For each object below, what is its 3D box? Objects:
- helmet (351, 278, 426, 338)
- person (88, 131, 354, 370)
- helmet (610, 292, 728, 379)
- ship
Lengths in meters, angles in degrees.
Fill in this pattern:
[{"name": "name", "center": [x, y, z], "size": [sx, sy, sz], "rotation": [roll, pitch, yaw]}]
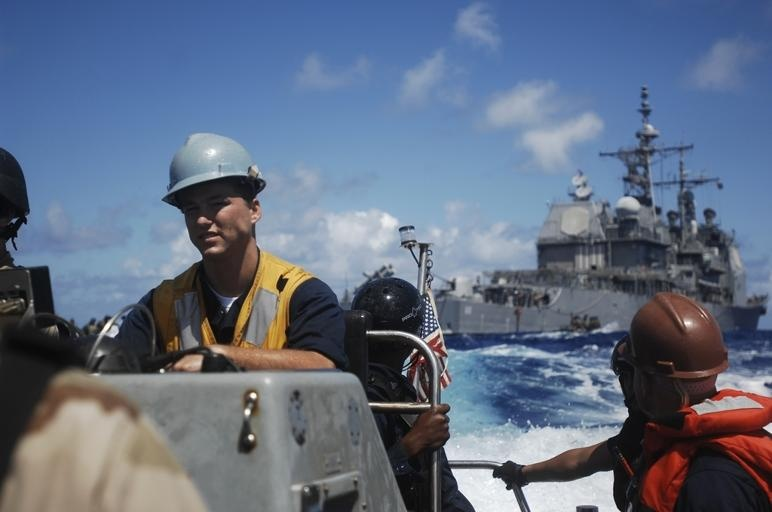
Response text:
[{"name": "helmet", "center": [0.009, 0.321, 5.795], "size": [0.336, 0.368, 0.422], "rotation": [15, 31, 40]}, {"name": "person", "center": [-0.663, 0.117, 4.021], "size": [0.874, 1.235, 0.740], "rotation": [-4, -8, 22]}, {"name": "helmet", "center": [1.178, 0.345, 3.990], "size": [0.316, 0.213, 0.377], "rotation": [-8, 26, -25]}, {"name": "ship", "center": [11.867, -0.798, 49.663], "size": [29.205, 13.821, 7.199], "rotation": [-2, 5, -42]}]
